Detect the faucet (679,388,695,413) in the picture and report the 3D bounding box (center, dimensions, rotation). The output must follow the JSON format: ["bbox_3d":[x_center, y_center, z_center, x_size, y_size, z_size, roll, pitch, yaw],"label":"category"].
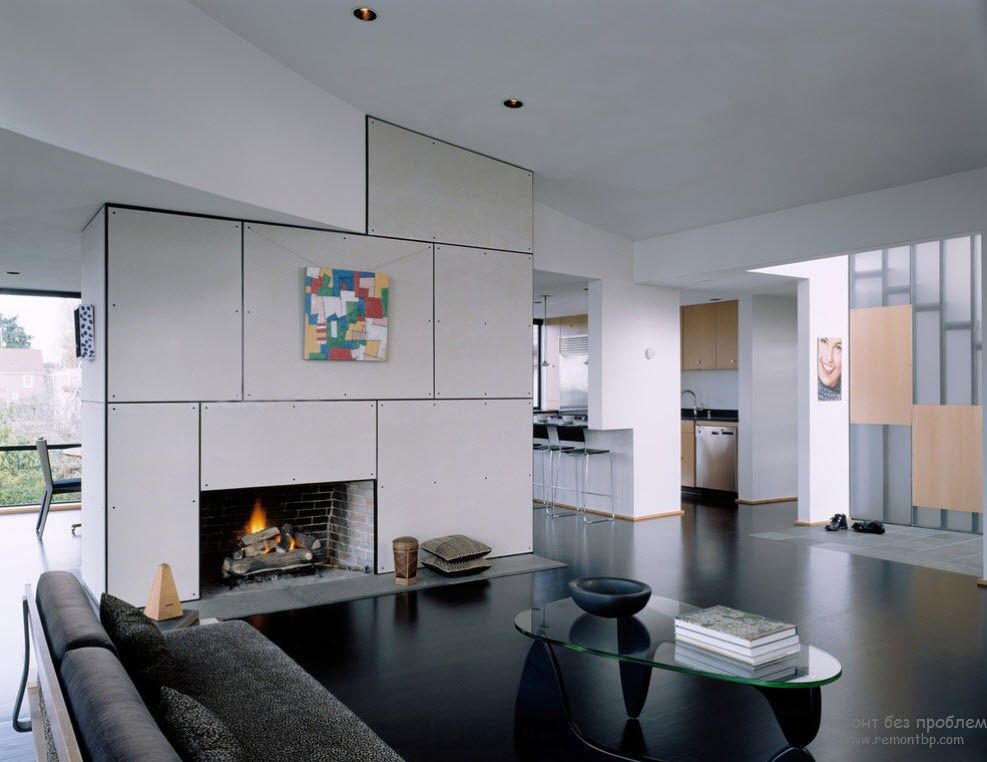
[{"bbox_3d":[3.253,0.323,11.668,0.182,0.389,0.478,0,1,-6],"label":"faucet"}]

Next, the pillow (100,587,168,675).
[{"bbox_3d":[-1.458,0.935,2.830,0.141,0.290,0.419,-8,4,-26],"label":"pillow"}]

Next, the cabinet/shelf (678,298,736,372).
[{"bbox_3d":[3.327,-0.743,10.879,0.360,1.056,1.021,1,-1,-34],"label":"cabinet/shelf"}]
